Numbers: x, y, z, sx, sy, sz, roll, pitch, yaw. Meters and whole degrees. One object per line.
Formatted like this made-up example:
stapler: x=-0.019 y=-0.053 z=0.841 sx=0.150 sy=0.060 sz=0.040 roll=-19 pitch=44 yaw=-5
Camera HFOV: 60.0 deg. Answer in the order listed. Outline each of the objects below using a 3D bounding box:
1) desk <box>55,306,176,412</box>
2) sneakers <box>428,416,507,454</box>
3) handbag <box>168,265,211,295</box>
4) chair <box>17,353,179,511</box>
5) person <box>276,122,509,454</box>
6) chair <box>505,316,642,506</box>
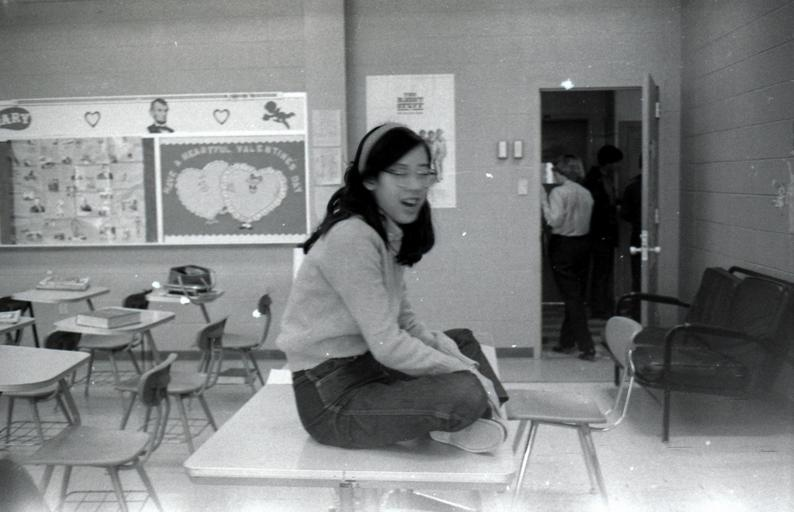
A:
desk: x=-1.577 y=0.570 z=4.055 sx=0.573 sy=0.402 sz=0.581 roll=2 pitch=9 yaw=8
sneakers: x=0.264 y=0.684 z=2.606 sx=0.273 sy=0.117 sz=0.106 roll=-1 pitch=-4 yaw=6
handbag: x=-1.205 y=0.136 z=4.078 sx=0.242 sy=0.123 sz=0.164 roll=2 pitch=-1 yaw=-3
chair: x=-1.276 y=0.867 z=3.226 sx=0.552 sy=0.831 sz=0.657 roll=-2 pitch=12 yaw=0
person: x=0.123 y=0.103 z=2.858 sx=1.115 sy=1.192 sz=1.018 roll=-9 pitch=10 yaw=-41
chair: x=0.970 y=0.828 z=3.680 sx=0.608 sy=0.711 sz=1.394 roll=2 pitch=11 yaw=19
